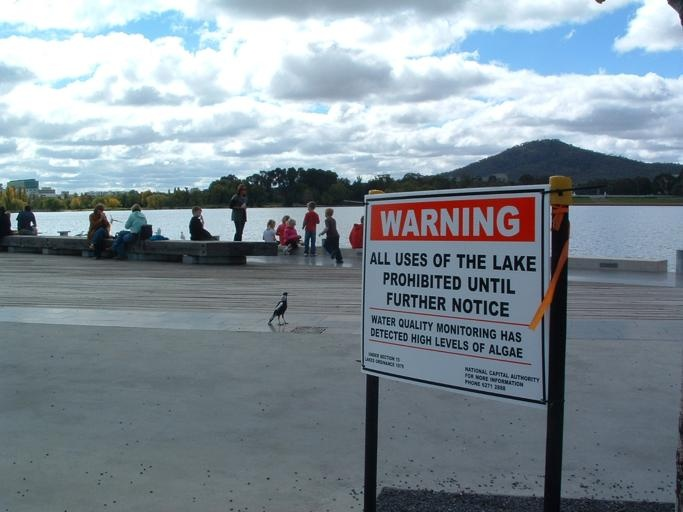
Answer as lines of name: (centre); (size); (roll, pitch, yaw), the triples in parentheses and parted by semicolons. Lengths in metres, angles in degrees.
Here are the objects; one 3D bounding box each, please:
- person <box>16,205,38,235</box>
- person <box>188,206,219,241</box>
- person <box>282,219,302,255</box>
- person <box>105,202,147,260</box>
person: (-11.845, -1.462, 29.143); (0.662, 1.053, 1.979); (-5, 13, -22)
person: (-3.877, -0.785, 21.609); (0.726, 1.275, 0.540); (-9, 16, -32)
person: (-1.511, -0.672, 23.964); (0.537, 0.960, 0.798); (1, 10, 19)
person: (-5.902, -0.742, 21.816); (0.698, 1.650, 1.451); (-8, 14, -32)
